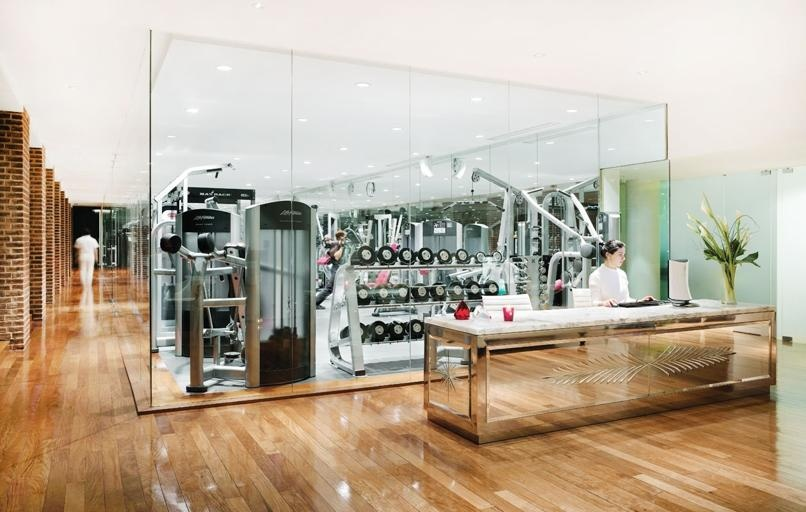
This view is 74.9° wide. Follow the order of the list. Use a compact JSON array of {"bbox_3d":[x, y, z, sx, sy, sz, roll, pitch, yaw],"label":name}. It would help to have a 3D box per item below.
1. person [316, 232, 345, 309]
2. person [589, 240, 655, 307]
[{"bbox_3d":[-0.909,0.172,6.633,0.359,0.997,0.352,12,-11,4],"label":"person"},{"bbox_3d":[2.572,0.209,6.500,0.473,0.760,0.666,2,10,16],"label":"person"}]
